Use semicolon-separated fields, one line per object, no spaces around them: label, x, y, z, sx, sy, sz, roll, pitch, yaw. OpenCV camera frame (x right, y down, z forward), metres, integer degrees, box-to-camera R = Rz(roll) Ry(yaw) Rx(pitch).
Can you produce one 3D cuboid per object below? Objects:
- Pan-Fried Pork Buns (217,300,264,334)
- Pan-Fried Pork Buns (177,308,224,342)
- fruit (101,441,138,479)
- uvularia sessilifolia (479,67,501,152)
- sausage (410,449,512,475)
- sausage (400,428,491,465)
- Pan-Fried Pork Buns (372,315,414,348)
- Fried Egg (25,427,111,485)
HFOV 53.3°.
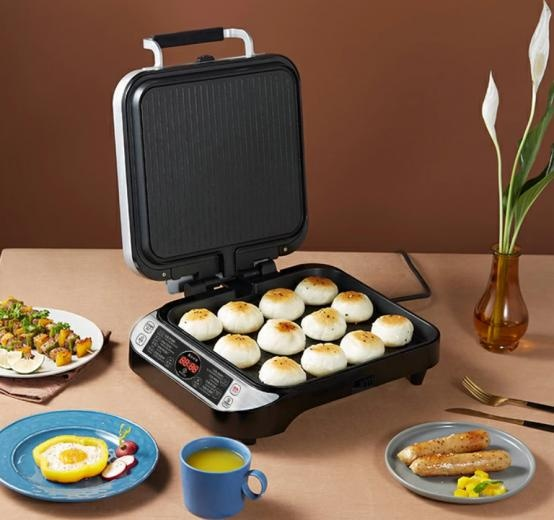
Pan-Fried Pork Buns;-0.074;0.107;1.089;0.096;0.029;0.097;3;28;-4
Pan-Fried Pork Buns;-0.148;0.119;1.051;0.090;0.047;0.083;-4;18;15
fruit;-0.223;0.289;0.791;0.028;0.007;0.043;9;37;22
uvularia sessilifolia;0.403;-0.266;1.049;0.044;0.162;0.037;-5;12;24
sausage;0.268;0.299;0.811;0.119;0.024;0.029;-4;0;-6
sausage;0.261;0.291;0.852;0.148;0.033;0.034;-6;-9;-19
Pan-Fried Pork Buns;0.219;0.128;1.060;0.086;0.043;0.082;-2;20;4
Fried Egg;-0.298;0.283;0.799;0.091;0.032;0.107;-22;29;-36
